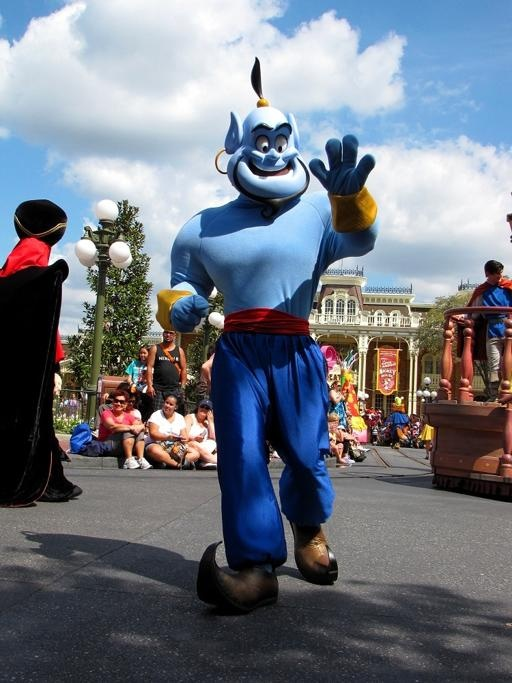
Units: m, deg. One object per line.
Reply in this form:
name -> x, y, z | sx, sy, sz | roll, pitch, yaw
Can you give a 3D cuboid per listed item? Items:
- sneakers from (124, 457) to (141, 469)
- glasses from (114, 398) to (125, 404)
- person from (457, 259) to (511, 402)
sneakers -> -1.540, 1.508, 7.233 | 0.187, 0.129, 0.122 | 4, -4, -18
glasses -> -1.688, 0.742, 7.239 | 0.130, 0.093, 0.066 | 5, -4, -27
person -> 2.569, -0.122, 6.408 | 0.438, 1.514, 0.948 | 1, -4, 20
